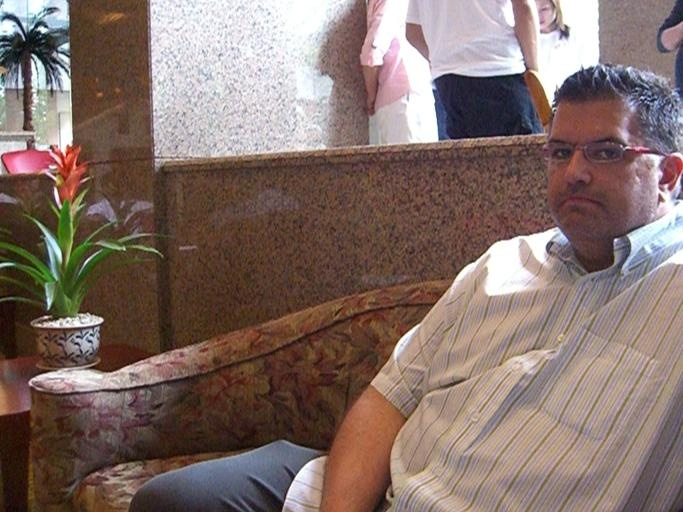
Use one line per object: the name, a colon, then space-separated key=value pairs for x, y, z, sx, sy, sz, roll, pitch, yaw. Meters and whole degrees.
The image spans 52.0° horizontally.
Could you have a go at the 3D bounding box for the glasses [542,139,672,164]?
glasses: x=0.539 y=-0.213 z=1.436 sx=0.209 sy=0.052 sz=0.045 roll=0 pitch=3 yaw=16

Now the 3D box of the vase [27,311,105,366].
vase: x=-0.889 y=0.272 z=2.264 sx=0.214 sy=0.152 sz=0.217 roll=0 pitch=11 yaw=42
